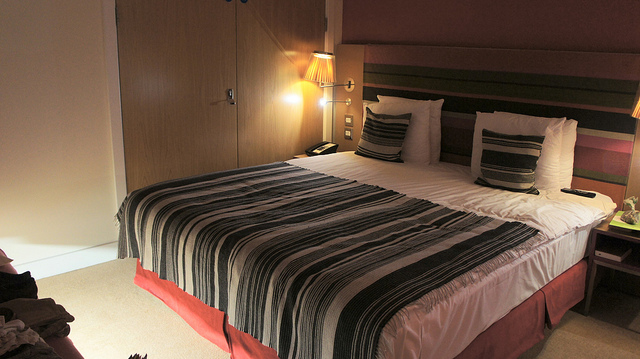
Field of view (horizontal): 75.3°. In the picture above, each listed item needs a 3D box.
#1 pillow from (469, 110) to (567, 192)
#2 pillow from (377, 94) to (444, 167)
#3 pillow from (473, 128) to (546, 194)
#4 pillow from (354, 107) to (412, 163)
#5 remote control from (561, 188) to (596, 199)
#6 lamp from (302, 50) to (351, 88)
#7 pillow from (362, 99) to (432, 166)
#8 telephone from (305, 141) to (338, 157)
[{"bbox_3d":[2.113,-0.291,4.420,0.380,0.856,0.993,-16,20,-36],"label":"pillow"},{"bbox_3d":[1.056,-0.533,4.764,0.768,0.810,0.290,10,12,31],"label":"pillow"},{"bbox_3d":[1.915,-0.180,4.115,0.624,0.563,0.222,9,12,37],"label":"pillow"},{"bbox_3d":[0.768,-0.517,4.885,0.663,0.590,0.266,18,14,37],"label":"pillow"},{"bbox_3d":[2.563,0.129,4.122,0.203,0.026,0.113,10,15,43],"label":"remote control"},{"bbox_3d":[0.071,-1.432,5.452,0.561,0.433,0.385,0,15,-18],"label":"lamp"},{"bbox_3d":[0.913,-0.519,4.770,0.793,0.671,0.271,6,4,33],"label":"pillow"},{"bbox_3d":[0.028,-0.409,5.467,0.271,0.105,0.223,-11,21,-32],"label":"telephone"}]
